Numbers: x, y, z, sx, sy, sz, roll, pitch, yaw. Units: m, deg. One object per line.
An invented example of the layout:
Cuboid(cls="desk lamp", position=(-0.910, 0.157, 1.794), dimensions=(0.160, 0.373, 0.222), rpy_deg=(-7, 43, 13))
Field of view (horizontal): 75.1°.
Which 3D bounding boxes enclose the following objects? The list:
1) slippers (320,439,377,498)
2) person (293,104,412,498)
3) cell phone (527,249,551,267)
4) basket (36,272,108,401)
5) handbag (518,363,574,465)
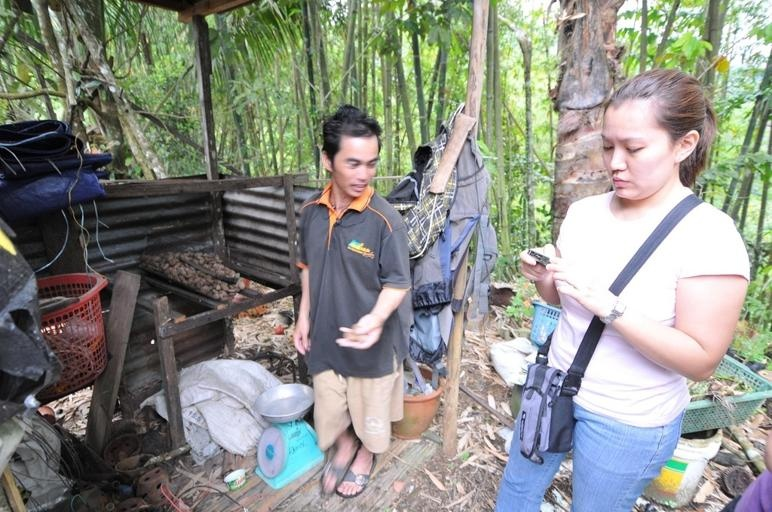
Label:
Cuboid(cls="slippers", position=(-0.322, 1.786, 4.117), dimensions=(0.319, 0.124, 0.464), rpy_deg=(13, 55, 13))
Cuboid(cls="person", position=(-0.298, 0.246, 3.819), dimensions=(0.846, 2.635, 0.693), rpy_deg=(18, 28, 37))
Cuboid(cls="cell phone", position=(0.954, 0.010, 3.156), dimensions=(0.119, 0.069, 0.029), rpy_deg=(31, -16, 2))
Cuboid(cls="basket", position=(-2.380, 0.661, 3.859), dimensions=(0.564, 0.956, 0.588), rpy_deg=(-9, 24, -23))
Cuboid(cls="handbag", position=(1.007, 0.978, 3.287), dimensions=(0.355, 0.550, 0.378), rpy_deg=(12, 17, 24))
